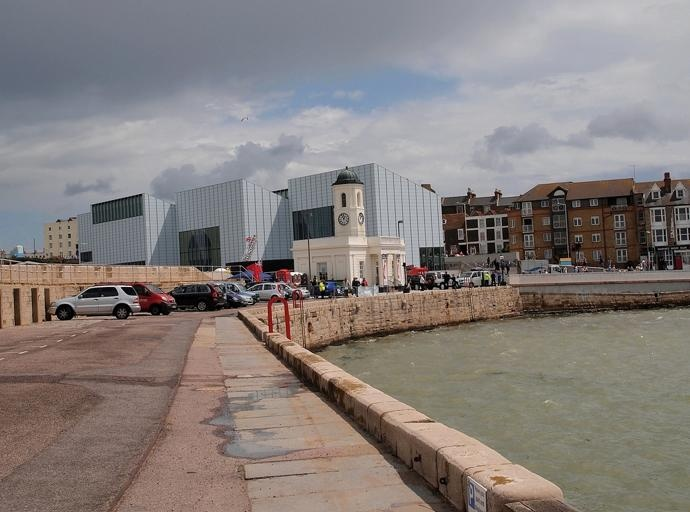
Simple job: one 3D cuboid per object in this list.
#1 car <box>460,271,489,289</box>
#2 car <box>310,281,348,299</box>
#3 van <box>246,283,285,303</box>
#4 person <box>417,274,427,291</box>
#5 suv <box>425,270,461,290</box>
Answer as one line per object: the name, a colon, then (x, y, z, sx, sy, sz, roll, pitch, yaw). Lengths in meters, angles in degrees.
car: (13.760, 2.412, 59.331, 3.487, 1.706, 3.211, 0, -1, -4)
car: (-1.560, 3.490, 52.868, 2.658, 1.232, 1.929, -2, 2, -27)
van: (-6.481, 3.320, 47.108, 3.410, 1.466, 1.960, 5, 2, 23)
person: (8.203, 2.927, 59.608, 0.672, 0.644, 1.596, -8, 16, 0)
suv: (10.243, 2.825, 59.872, 3.512, 1.738, 2.029, -5, 0, -5)
